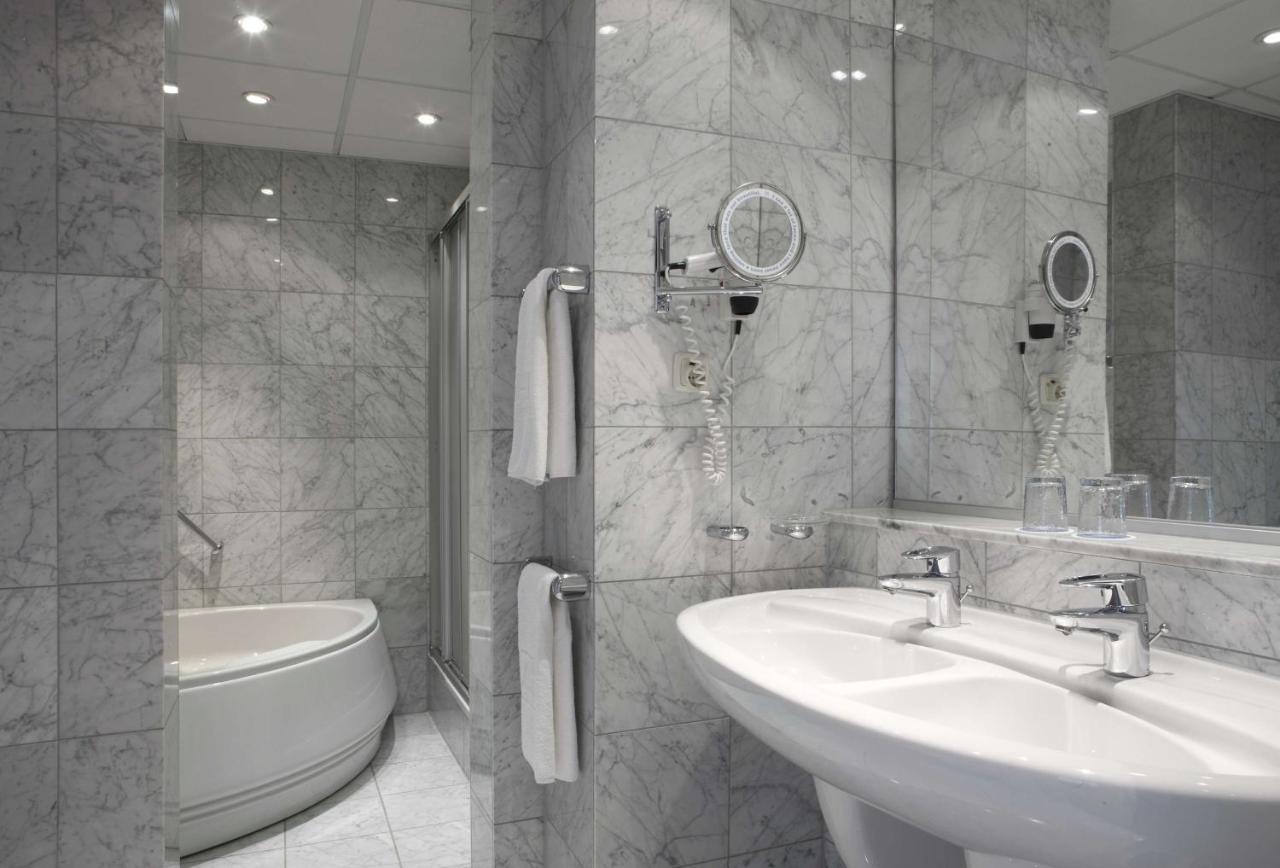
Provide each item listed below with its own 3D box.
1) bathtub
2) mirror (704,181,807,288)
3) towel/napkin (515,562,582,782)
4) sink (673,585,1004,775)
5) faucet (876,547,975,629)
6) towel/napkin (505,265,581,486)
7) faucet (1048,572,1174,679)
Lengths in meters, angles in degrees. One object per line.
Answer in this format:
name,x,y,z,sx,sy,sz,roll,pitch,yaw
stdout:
bathtub,-1.535,1.189,3.872,0.780,0.859,1.135,3,-2,-18
mirror,0.333,-0.555,2.582,0.239,0.193,0.337,1,0,6
towel/napkin,-0.276,0.705,2.704,0.172,0.608,0.275,1,0,-11
sink,0.391,0.540,2.171,0.409,0.142,0.575,0,3,-25
faucet,0.706,0.336,2.314,0.287,0.240,0.211,-1,3,-35
towel/napkin,-0.309,-0.160,2.691,0.161,0.603,0.304,-1,6,-32
faucet,1.013,0.402,1.911,0.369,0.283,0.138,4,-9,-20
